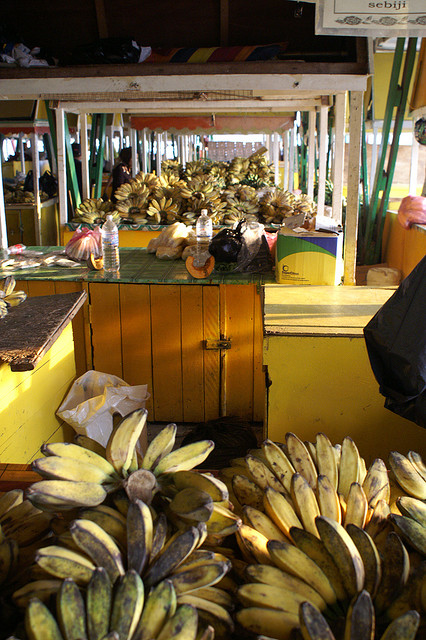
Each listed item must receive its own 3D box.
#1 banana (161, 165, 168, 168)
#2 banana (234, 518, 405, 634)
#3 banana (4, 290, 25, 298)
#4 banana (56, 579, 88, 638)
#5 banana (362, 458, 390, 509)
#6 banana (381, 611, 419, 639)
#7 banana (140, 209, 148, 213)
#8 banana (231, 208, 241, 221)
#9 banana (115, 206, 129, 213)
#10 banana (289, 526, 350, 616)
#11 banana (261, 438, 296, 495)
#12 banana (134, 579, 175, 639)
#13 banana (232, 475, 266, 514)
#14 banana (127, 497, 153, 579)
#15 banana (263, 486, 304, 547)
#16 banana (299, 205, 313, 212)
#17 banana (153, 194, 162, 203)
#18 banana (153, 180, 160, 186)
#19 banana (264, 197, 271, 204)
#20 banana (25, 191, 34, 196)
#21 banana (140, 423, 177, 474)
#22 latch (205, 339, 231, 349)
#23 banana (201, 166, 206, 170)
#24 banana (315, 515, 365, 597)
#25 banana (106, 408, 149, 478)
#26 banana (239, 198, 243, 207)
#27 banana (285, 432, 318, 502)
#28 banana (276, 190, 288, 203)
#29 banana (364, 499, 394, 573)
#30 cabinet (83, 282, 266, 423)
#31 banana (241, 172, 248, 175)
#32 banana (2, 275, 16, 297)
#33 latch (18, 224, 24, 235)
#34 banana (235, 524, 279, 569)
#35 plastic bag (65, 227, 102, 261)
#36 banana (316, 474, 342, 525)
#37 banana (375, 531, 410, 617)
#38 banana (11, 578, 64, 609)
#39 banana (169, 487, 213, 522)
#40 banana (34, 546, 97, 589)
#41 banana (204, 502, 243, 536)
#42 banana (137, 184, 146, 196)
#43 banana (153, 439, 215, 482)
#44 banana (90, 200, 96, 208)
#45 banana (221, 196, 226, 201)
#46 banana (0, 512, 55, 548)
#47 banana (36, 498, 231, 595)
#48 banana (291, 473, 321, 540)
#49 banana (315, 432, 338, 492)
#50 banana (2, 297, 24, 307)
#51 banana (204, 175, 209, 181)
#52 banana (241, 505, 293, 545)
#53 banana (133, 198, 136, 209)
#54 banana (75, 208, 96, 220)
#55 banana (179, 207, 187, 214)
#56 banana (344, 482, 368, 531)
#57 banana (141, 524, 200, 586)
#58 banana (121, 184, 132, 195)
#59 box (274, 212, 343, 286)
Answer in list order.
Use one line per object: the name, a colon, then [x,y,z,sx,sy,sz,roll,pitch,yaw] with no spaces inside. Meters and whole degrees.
banana: [-0.991,-3.201,9.377,0.123,0.050,0.176,-2,19,-9]
banana: [0.153,0.385,0.681,0.184,0.062,0.186,-18,25,0]
banana: [-0.983,-0.132,2.256,0.026,0.028,0.107,5,12,34]
banana: [-0.177,0.370,0.569,0.024,0.077,0.025,-33,-23,27]
banana: [0.346,0.346,0.954,0.039,0.043,0.132,-12,29,11]
banana: [0.231,0.381,0.556,0.039,0.036,0.031,4,19,11]
banana: [-0.867,-1.378,5.694,0.077,0.069,0.021,0,-6,24]
banana: [0.278,-1.293,5.529,0.030,0.120,0.131,-29,37,18]
banana: [-1.168,-1.414,5.757,0.190,0.075,0.100,7,20,16]
banana: [0.169,0.380,0.708,0.028,0.136,0.046,-19,-24,-27]
banana: [0.143,0.323,1.013,0.032,0.041,0.121,-10,49,-10]
banana: [-0.076,0.379,0.593,0.023,0.080,0.026,20,0,-13]
banana: [0.075,0.365,0.957,0.030,0.024,0.102,-21,51,-12]
banana: [-0.111,0.327,0.685,0.032,0.108,0.036,-3,-8,9]
banana: [0.122,0.354,0.829,0.035,0.110,0.038,-26,-16,-35]
banana: [1.120,-1.344,5.429,0.118,0.032,0.127,-30,-2,22]
banana: [-0.692,-1.551,5.697,0.098,0.088,0.026,34,32,34]
banana: [-0.760,-1.859,6.131,0.059,0.081,0.027,3,-18,40]
banana: [0.663,-1.466,5.517,0.043,0.059,0.118,-12,23,-33]
banana: [-3.563,-2.469,8.818,0.096,0.032,0.113,17,0,2]
banana: [-0.104,0.254,0.910,0.035,0.037,0.119,18,40,7]
latch: [0.041,0.185,3.384,0.188,0.070,0.022,1,18,1]
banana: [-0.173,-2.952,8.705,0.104,0.097,0.026,5,-6,36]
banana: [0.201,0.354,0.685,0.054,0.071,0.097,-5,20,-17]
banana: [-0.163,0.232,0.916,0.045,0.056,0.165,-25,33,19]
banana: [0.351,-1.457,5.613,0.039,0.083,0.106,1,19,2]
banana: [0.196,0.321,1.023,0.030,0.115,0.040,-25,-36,12]
banana: [0.851,-1.522,5.548,0.179,0.032,0.029,-53,10,-26]
banana: [0.311,0.395,0.836,0.031,0.106,0.037,-8,1,-37]
cabinet: [-0.244,0.205,3.871,1.648,1.370,1.000,0,7,5]
banana: [0.587,-2.735,8.397,0.064,0.034,0.065,-10,18,18]
banana: [-1.045,-0.174,2.326,0.071,0.110,0.031,22,-33,-20]
latch: [-3.650,-1.740,8.590,0.099,0.140,0.051,1,3,3]
banana: [0.081,0.387,0.792,0.033,0.100,0.027,-45,11,-13]
plastic bag: [-1.086,-0.625,3.901,0.307,0.194,0.315,0,32,-11]
banana: [0.217,0.346,0.846,0.036,0.039,0.112,-20,26,12]
banana: [0.270,0.382,0.676,0.041,0.139,0.048,14,-20,-25]
banana: [-0.247,0.391,0.643,0.026,0.030,0.086,14,-34,-37]
banana: [-0.032,0.295,0.712,0.066,0.039,0.025,-5,-17,44]
banana: [-0.211,0.358,0.652,0.096,0.029,0.034,25,-19,14]
banana: [0.028,0.339,0.782,0.031,0.046,0.085,22,-15,-24]
banana: [-0.907,-1.689,5.835,0.060,0.173,0.047,4,-27,34]
banana: [-0.050,0.261,0.916,0.046,0.056,0.155,29,32,31]
banana: [-1.593,-1.550,5.998,0.019,0.079,0.081,-9,-7,17]
banana: [0.135,-1.529,5.653,0.041,0.051,0.077,2,12,5]
banana: [-0.337,0.384,0.831,0.104,0.027,0.063,-9,4,3]
banana: [-0.104,0.351,0.669,0.177,0.063,0.178,-1,10,-6]
banana: [0.168,0.339,0.821,0.031,0.106,0.035,-10,-18,-32]
banana: [0.258,0.312,1.021,0.031,0.107,0.034,-10,-34,15]
banana: [-0.962,-0.091,2.182,0.086,0.023,0.088,-6,20,-20]
banana: [-0.095,-2.185,6.925,0.048,0.059,0.219,21,33,-4]
banana: [0.092,0.367,0.853,0.115,0.037,0.032,41,50,19]
banana: [-1.010,-1.509,5.823,0.031,0.110,0.024,7,-13,-10]
banana: [-1.640,-1.379,5.862,0.269,0.096,0.057,29,-14,26]
banana: [-0.371,-1.350,5.565,0.103,0.024,0.097,-21,4,-4]
banana: [0.268,0.349,0.838,0.032,0.118,0.028,5,-29,-4]
banana: [-0.063,0.353,0.672,0.022,0.075,0.027,43,0,22]
banana: [-1.132,-1.702,5.898,0.186,0.040,0.066,40,-14,-23]
box: [0.629,-0.538,3.307,0.510,0.512,0.492,2,12,4]
